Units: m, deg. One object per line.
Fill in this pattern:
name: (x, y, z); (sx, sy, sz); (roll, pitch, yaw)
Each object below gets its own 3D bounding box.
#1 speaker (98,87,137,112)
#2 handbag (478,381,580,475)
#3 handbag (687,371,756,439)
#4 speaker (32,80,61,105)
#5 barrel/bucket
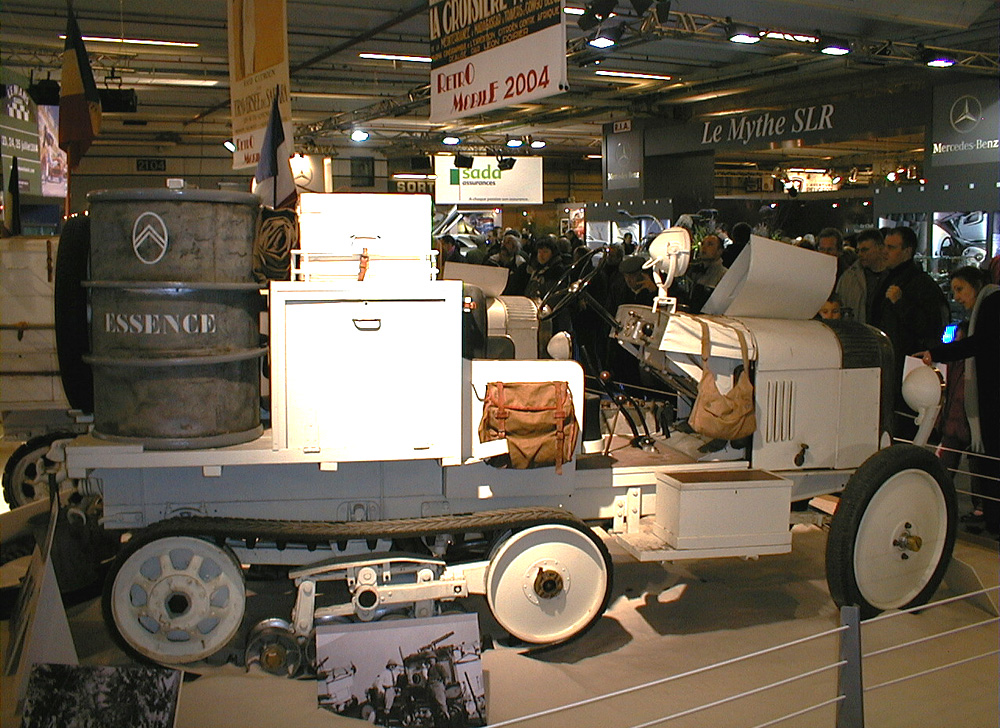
speaker: (-5.755, -3.955, 13.755); (0.458, 0.321, 0.336); (-4, 9, -15)
handbag: (0.204, 0.371, 6.412); (0.847, 0.747, 0.503); (-1, 11, -4)
handbag: (1.689, 0.293, 6.818); (0.428, 0.513, 0.244); (3, 0, -14)
speaker: (-7.078, -4.201, 14.191); (0.401, 0.401, 0.652); (-6, 9, -25)
barrel/bucket: (-2.107, -0.341, 6.696); (1.378, 2.163, 1.458); (0, 4, 0)
